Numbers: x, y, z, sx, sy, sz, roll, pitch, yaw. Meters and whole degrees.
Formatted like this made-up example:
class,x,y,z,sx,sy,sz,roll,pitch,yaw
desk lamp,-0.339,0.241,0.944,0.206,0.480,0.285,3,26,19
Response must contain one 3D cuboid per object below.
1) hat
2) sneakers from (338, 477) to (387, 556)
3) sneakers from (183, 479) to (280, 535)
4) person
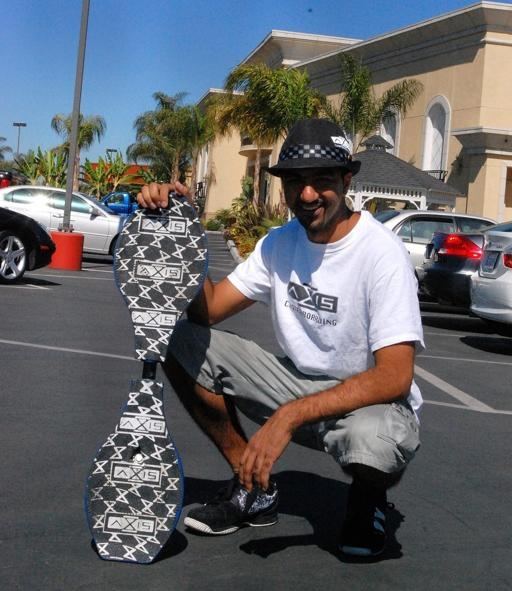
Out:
class,x,y,z,sx,sy,sz,roll,pitch,yaw
hat,0.202,-0.523,1.727,0.321,0.182,0.221,5,-1,-1
sneakers,0.346,0.746,1.676,0.124,0.136,0.331,4,-11,11
sneakers,-0.083,0.796,1.917,0.428,0.176,0.145,13,-18,-39
person,0.141,0.158,1.850,1.136,1.463,0.906,2,3,34
